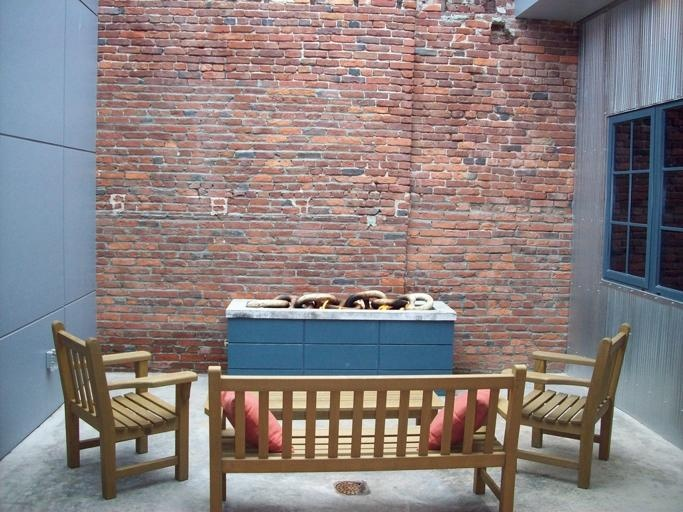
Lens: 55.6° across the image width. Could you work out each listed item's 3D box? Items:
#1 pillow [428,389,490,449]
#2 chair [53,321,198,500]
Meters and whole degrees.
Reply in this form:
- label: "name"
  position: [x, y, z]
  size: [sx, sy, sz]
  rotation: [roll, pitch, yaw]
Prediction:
- label: "pillow"
  position: [0.811, 1.154, 4.524]
  size: [0.158, 0.455, 0.489]
  rotation: [35, -34, 0]
- label: "chair"
  position: [-1.781, 1.271, 5.212]
  size: [1.151, 1.332, 1.308]
  rotation: [-4, 7, -36]
